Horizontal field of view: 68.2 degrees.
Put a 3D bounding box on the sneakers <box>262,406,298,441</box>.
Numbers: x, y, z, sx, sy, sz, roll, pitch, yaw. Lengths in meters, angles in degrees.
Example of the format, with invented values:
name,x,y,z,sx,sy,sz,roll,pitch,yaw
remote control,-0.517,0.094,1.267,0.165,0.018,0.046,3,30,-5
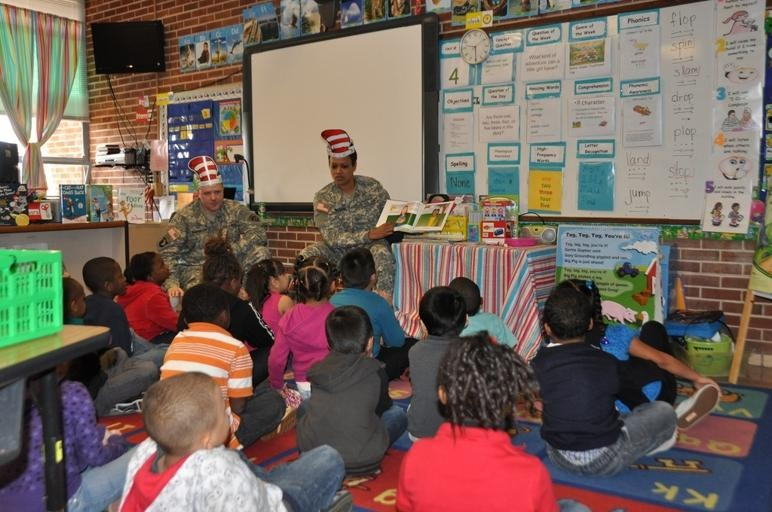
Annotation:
name,x,y,z,sx,sy,sz,roll,pitch,yaw
sneakers,-0.647,1.013,3.443,0.087,0.090,0.269,1,1,32

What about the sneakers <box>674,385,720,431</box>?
name,x,y,z,sx,sy,sz,roll,pitch,yaw
sneakers,1.872,0.919,3.408,0.311,0.119,0.134,-42,12,9

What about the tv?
name,x,y,z,sx,sy,sz,roll,pitch,yaw
tv,-3.319,-2.685,7.365,1.030,0.622,0.243,4,8,22

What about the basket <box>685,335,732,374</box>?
name,x,y,z,sx,sy,sz,roll,pitch,yaw
basket,2.460,0.752,4.369,0.287,0.210,0.259,-3,3,19

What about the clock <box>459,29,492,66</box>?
name,x,y,z,sx,sy,sz,roll,pitch,yaw
clock,0.827,-1.896,5.175,0.346,0.372,0.062,-3,2,34

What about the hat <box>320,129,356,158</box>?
name,x,y,z,sx,sy,sz,roll,pitch,yaw
hat,-0.440,-1.020,5.175,0.293,0.256,0.194,4,8,18

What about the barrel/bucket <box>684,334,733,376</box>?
name,x,y,z,sx,sy,sz,roll,pitch,yaw
barrel/bucket,2.462,0.753,4.389,0.305,0.224,0.274,-1,4,10

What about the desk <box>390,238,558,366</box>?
name,x,y,z,sx,sy,sz,roll,pitch,yaw
desk,0.777,0.196,5.005,1.563,0.786,1.101,5,12,36

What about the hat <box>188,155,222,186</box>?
name,x,y,z,sx,sy,sz,roll,pitch,yaw
hat,-1.680,-0.787,5.320,0.193,0.275,0.266,-7,11,-44

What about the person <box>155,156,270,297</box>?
name,x,y,z,sx,sy,sz,roll,pitch,yaw
person,-1.582,-0.262,5.340,1.070,1.204,1.018,1,21,-14
